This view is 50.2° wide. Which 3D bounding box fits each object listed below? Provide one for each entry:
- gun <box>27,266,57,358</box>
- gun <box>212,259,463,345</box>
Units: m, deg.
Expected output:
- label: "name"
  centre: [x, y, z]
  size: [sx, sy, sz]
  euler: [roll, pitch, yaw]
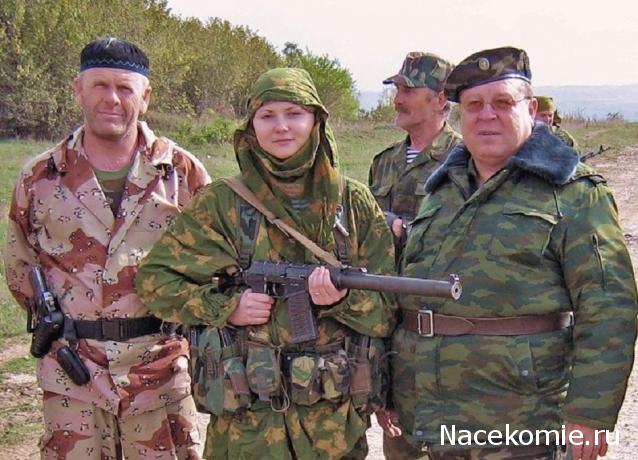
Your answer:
- label: "gun"
  centre: [-2.216, 0.658, 5.553]
  size: [0.389, 0.771, 0.188]
  euler: [0, 1, 31]
- label: "gun"
  centre: [0.047, 0.527, 4.829]
  size: [1.860, 0.624, 0.145]
  euler: [2, -2, 34]
